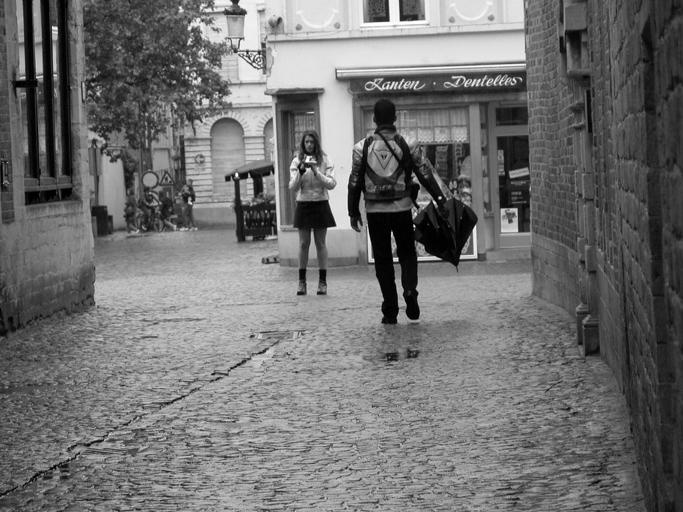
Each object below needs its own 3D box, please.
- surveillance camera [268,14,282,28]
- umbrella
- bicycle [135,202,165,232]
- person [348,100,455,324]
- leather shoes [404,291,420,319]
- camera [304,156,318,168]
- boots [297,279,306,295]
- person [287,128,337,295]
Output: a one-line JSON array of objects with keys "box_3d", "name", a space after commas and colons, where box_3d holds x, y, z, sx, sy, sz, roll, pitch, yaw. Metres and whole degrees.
[{"box_3d": [-1.197, -4.256, 18.933, 0.257, 0.232, 0.072, -2, 3, 0], "name": "surveillance camera"}, {"box_3d": [1.088, -0.409, 11.231, 0.669, 1.013, 0.704, -5, 3, 25], "name": "umbrella"}, {"box_3d": [-7.017, -1.393, 37.648, 0.576, 0.995, 1.307, 1, 5, 13], "name": "bicycle"}, {"box_3d": [0.589, -0.530, 11.159, 0.845, 2.604, 0.585, -3, 26, 1], "name": "person"}, {"box_3d": [0.727, 0.510, 10.832, 0.137, 0.327, 0.338, -1, 4, 7], "name": "leather shoes"}, {"box_3d": [-0.402, -1.240, 13.588, 0.170, 0.151, 0.222, -2, 4, 5], "name": "camera"}, {"box_3d": [-0.536, 0.410, 13.943, 0.128, 0.258, 0.492, 0, -3, -3], "name": "boots"}, {"box_3d": [-0.369, -0.578, 13.837, 0.609, 2.158, 0.646, -1, 3, 13], "name": "person"}]
